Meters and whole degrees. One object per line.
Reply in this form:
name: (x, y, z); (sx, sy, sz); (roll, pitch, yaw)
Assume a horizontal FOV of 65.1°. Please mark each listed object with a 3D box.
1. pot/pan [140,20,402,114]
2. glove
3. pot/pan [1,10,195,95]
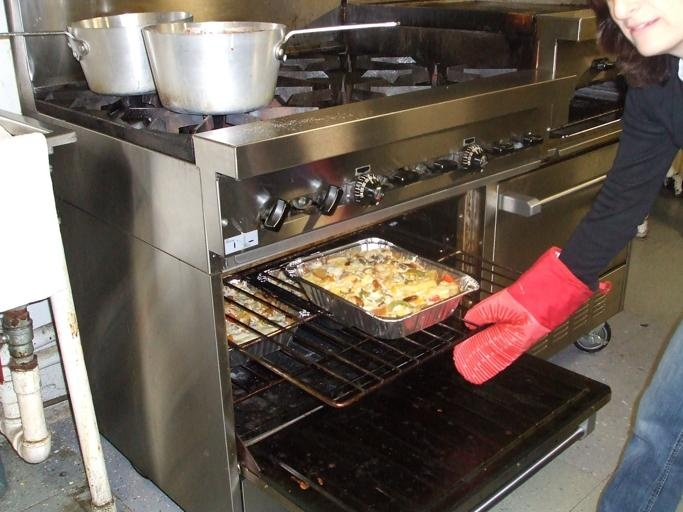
pot/pan: (-0.167, -0.471, 1.310); (0.607, 0.209, 0.335); (4, 25, 5)
glove: (0.485, 0.186, 1.520); (0.134, 0.487, 0.240); (9, 43, -56)
pot/pan: (-0.608, -0.527, 1.498); (0.513, 0.175, 0.271); (-13, 30, -20)
